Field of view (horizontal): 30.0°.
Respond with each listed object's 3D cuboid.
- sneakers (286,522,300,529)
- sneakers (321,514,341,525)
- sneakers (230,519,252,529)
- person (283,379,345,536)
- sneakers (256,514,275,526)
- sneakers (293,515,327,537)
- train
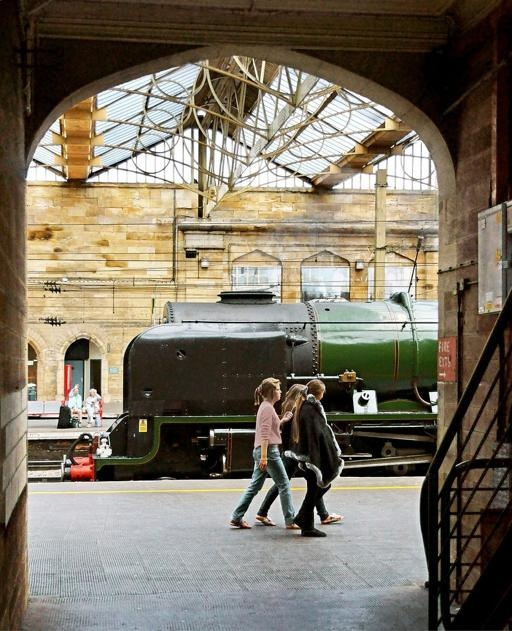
[{"bbox_3d":[0.343,1.930,8.839,0.144,0.100,0.049,1,1,-6],"label":"sneakers"},{"bbox_3d":[0.729,1.944,9.133,0.154,0.063,0.081,-7,2,-9],"label":"sneakers"},{"bbox_3d":[-0.139,1.913,8.817,0.200,0.085,0.074,3,-1,-12],"label":"sneakers"},{"bbox_3d":[0.549,1.262,8.604,0.460,1.350,0.485,-2,-2,3],"label":"person"},{"bbox_3d":[0.097,1.946,9.130,0.197,0.080,0.072,3,-2,17],"label":"sneakers"},{"bbox_3d":[0.473,1.867,8.478,0.297,0.205,0.110,-2,-1,-9],"label":"sneakers"},{"bbox_3d":[0.151,1.105,14.078,5.982,2.541,2.346,-2,1,-11],"label":"train"}]
